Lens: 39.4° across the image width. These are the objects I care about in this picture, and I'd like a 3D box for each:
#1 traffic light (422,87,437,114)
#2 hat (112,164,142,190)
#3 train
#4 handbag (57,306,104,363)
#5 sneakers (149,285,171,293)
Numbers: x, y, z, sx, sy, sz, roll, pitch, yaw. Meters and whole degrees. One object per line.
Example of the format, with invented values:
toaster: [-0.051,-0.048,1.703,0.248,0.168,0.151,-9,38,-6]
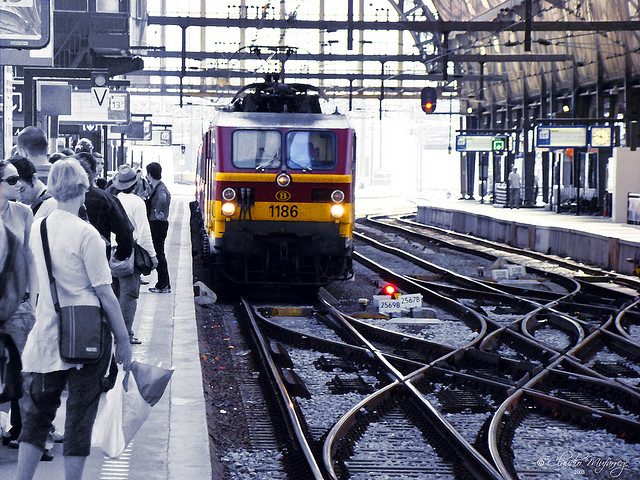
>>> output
traffic light: [3.603,-4.572,29.519,0.431,0.845,1.710,2,8,9]
hat: [-2.323,-0.774,10.757,0.270,0.335,0.127,-12,-35,12]
train: [-0.694,-0.847,15.262,2.520,3.623,2.176,0,8,0]
handbag: [-1.776,0.707,6.524,0.389,0.558,0.182,0,-2,-13]
sneakers: [-2.614,0.844,14.554,0.384,0.175,0.134,4,2,-5]
